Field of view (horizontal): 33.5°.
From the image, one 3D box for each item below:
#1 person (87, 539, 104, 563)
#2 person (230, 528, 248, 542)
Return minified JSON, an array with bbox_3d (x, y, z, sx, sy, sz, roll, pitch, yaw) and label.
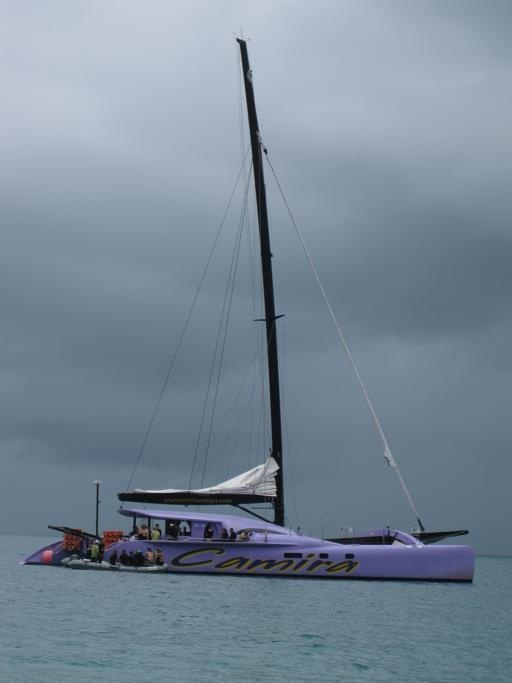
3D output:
[{"bbox_3d":[-6.740,8.878,36.059,0.661,0.801,0.397,2,-12,7],"label":"person"},{"bbox_3d":[-0.625,7.208,31.602,0.531,0.443,0.853,11,-13,-38],"label":"person"}]
